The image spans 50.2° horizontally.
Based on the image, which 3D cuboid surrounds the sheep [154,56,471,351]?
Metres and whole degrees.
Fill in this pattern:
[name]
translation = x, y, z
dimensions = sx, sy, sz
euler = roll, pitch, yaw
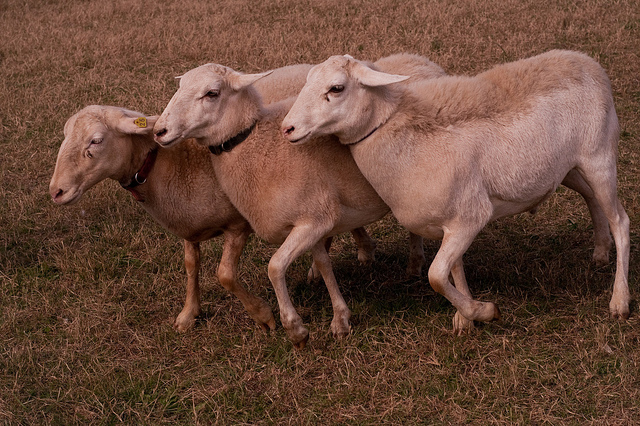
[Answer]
[sheep]
translation = 0.133, -0.269, 7.197
dimensions = 3.638, 2.817, 1.384
euler = -19, 20, -39
